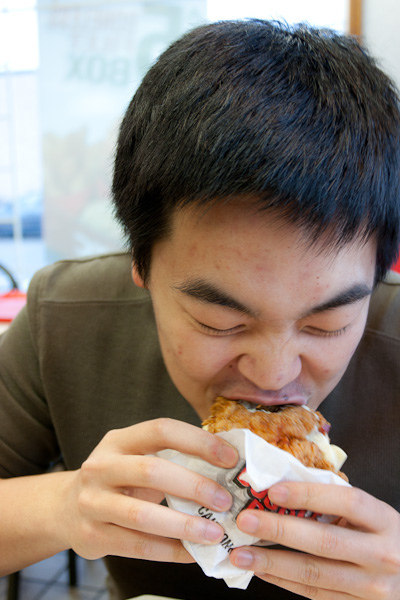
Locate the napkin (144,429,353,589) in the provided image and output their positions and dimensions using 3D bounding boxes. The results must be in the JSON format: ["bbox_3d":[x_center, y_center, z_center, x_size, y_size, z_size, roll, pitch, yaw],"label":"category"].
[{"bbox_3d":[0.084,0.342,1.027,0.330,0.298,0.099,-42,-6,-9],"label":"napkin"}]
